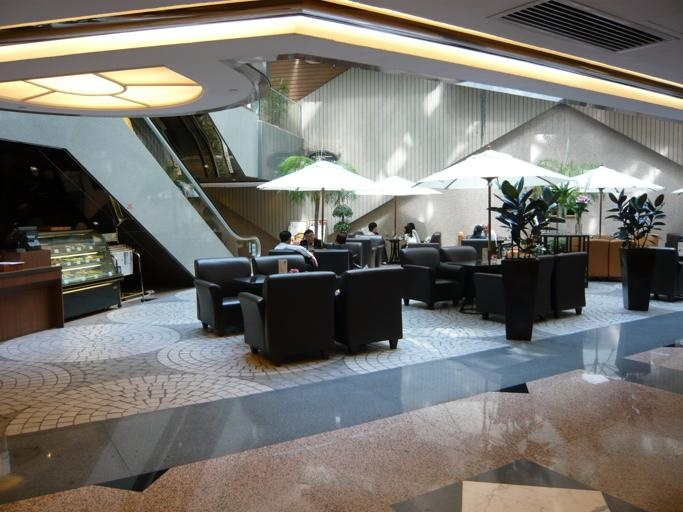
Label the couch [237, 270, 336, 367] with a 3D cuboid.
[{"bbox_3d":[-0.584,0.725,5.837,1.014,1.069,1.153,-1,3,-28],"label":"couch"}]

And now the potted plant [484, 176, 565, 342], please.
[{"bbox_3d":[2.675,-0.009,6.800,0.853,2.239,1.515,3,9,22],"label":"potted plant"}]

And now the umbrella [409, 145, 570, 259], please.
[{"bbox_3d":[2.949,-1.294,8.938,2.532,1.577,2.488,-9,10,-43],"label":"umbrella"}]

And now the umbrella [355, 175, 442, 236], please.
[{"bbox_3d":[1.759,-1.755,14.792,2.129,1.403,2.155,-3,7,7],"label":"umbrella"}]

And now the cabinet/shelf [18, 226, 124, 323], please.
[{"bbox_3d":[-4.697,0.273,7.986,0.999,1.518,1.794,-2,4,1],"label":"cabinet/shelf"}]

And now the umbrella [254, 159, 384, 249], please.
[{"bbox_3d":[-0.350,-1.030,10.344,2.749,1.744,2.622,-2,7,-3],"label":"umbrella"}]

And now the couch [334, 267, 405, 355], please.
[{"bbox_3d":[0.340,0.710,6.170,1.075,0.994,0.912,2,-10,-5],"label":"couch"}]
